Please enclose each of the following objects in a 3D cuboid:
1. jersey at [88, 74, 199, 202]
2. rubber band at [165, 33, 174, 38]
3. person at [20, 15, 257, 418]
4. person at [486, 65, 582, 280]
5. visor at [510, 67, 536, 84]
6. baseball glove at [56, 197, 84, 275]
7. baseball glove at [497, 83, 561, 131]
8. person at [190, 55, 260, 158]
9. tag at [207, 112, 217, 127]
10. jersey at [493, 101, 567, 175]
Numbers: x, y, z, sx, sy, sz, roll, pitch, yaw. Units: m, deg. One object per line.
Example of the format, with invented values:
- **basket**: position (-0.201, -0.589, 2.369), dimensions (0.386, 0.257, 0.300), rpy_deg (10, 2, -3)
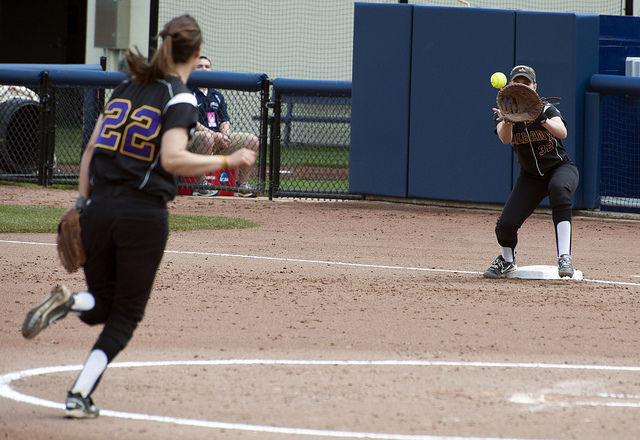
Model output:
- **jersey**: position (-1.083, -0.513, 5.473), dimensions (0.812, 0.731, 0.497), rpy_deg (15, 8, 39)
- **rubber band**: position (-0.930, -1.139, 5.336), dimensions (0.061, 0.026, 0.009), rpy_deg (6, 12, 21)
- **person**: position (-1.170, -0.045, 5.319), dimensions (1.113, 2.397, 0.537), rpy_deg (-2, 12, -18)
- **person**: position (2.144, -0.475, 8.556), dimensions (0.865, 2.042, 1.609), rpy_deg (5, 12, 16)
- **visor**: position (1.932, -1.380, 8.253), dimensions (0.222, 0.149, 0.173), rpy_deg (4, 11, 11)
- **baseball glove**: position (-1.584, 0.086, 5.373), dimensions (0.155, 0.377, 0.285), rpy_deg (-3, -3, 1)
- **baseball glove**: position (1.867, -1.095, 8.082), dimensions (0.430, 0.366, 0.214), rpy_deg (4, 11, 12)
- **person**: position (-1.600, -1.570, 12.968), dimensions (1.051, 1.727, 1.054), rpy_deg (-7, 8, -39)
- **tag**: position (-1.624, -1.510, 12.953), dimensions (0.122, 0.210, 0.112), rpy_deg (0, 11, -6)
- **jersey**: position (2.115, -0.778, 8.406), dimensions (0.751, 0.666, 0.417), rpy_deg (1, 30, 42)
